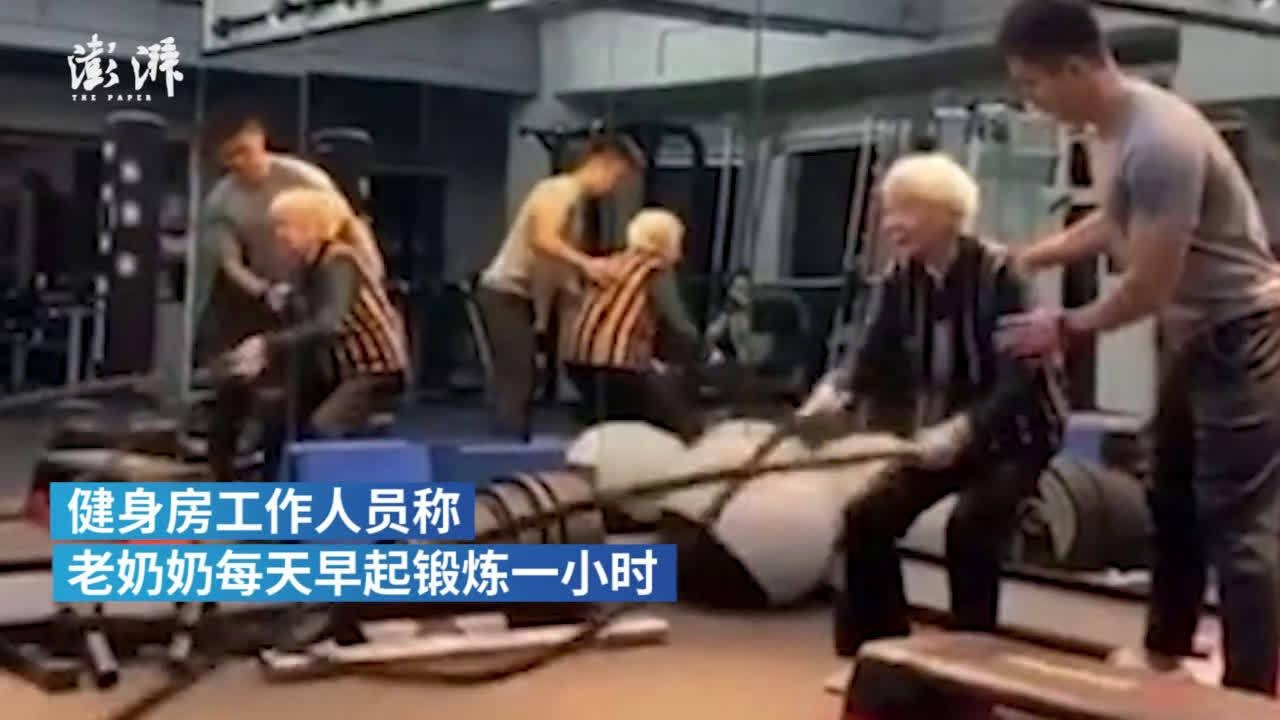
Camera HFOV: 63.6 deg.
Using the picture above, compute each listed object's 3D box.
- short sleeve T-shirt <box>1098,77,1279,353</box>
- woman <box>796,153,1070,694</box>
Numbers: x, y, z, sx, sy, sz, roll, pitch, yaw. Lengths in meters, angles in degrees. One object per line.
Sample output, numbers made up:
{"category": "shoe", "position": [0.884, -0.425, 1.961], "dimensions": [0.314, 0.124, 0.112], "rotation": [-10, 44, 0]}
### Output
{"category": "short sleeve T-shirt", "position": [1.278, -0.357, 2.439], "dimensions": [0.411, 0.595, 0.067], "rotation": [0, 8, 0]}
{"category": "woman", "position": [0.729, 0.180, 2.587], "dimensions": [0.714, 1.334, 0.661], "rotation": [2, 3, 9]}
